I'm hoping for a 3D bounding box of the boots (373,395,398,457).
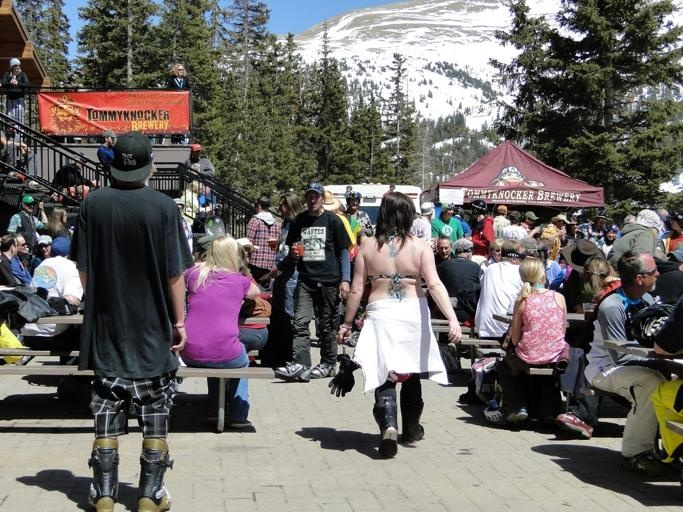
[{"bbox_3d":[0.434,1.639,8.140,0.201,0.576,0.288,0,6,-13],"label":"boots"}]

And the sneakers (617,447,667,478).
[{"bbox_3d":[2.781,1.911,7.875,0.370,0.243,0.200,-2,6,8],"label":"sneakers"}]

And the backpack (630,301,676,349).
[{"bbox_3d":[2.803,0.628,7.693,0.302,0.220,0.428,-11,22,34],"label":"backpack"}]

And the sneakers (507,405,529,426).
[{"bbox_3d":[1.893,1.730,9.128,0.104,0.139,0.247,-7,-6,-37],"label":"sneakers"}]

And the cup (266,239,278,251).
[{"bbox_3d":[-1.047,-0.188,12.986,0.144,0.157,0.174,2,-21,-12],"label":"cup"}]

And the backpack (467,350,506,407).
[{"bbox_3d":[1.594,1.325,9.822,0.340,0.315,0.362,16,10,25],"label":"backpack"}]

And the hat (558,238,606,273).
[{"bbox_3d":[2.917,-0.008,10.485,0.492,0.171,0.437,9,52,-9],"label":"hat"}]

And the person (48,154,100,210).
[{"bbox_3d":[-5.447,-1.478,17.363,0.893,1.230,0.547,13,-5,-22],"label":"person"}]

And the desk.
[{"bbox_3d":[-1.769,1.086,8.046,1.650,0.756,0.517,2,52,-1],"label":"desk"}]

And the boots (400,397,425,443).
[{"bbox_3d":[0.699,1.645,8.638,0.220,0.418,0.438,-4,-3,12],"label":"boots"}]

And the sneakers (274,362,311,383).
[{"bbox_3d":[-0.590,1.436,10.546,0.549,0.241,0.229,12,-7,-32],"label":"sneakers"}]

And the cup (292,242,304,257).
[{"bbox_3d":[-0.548,-0.100,10.890,0.168,0.157,0.145,6,-11,-26],"label":"cup"}]

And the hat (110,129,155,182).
[{"bbox_3d":[-1.699,-0.845,6.899,0.338,0.203,0.534,0,41,-2],"label":"hat"}]

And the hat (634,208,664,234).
[{"bbox_3d":[4.773,-0.585,13.210,0.424,0.334,0.590,13,-3,22],"label":"hat"}]
